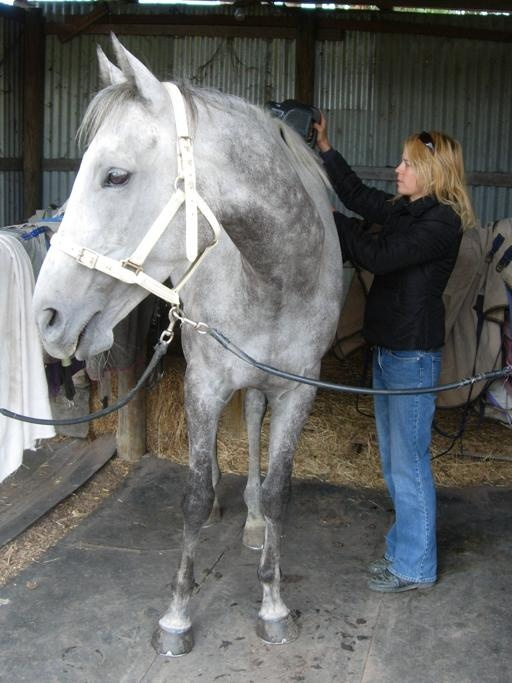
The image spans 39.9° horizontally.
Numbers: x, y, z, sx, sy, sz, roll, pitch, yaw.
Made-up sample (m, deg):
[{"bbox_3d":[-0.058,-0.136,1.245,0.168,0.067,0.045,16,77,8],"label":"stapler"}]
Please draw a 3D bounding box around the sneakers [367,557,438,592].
[{"bbox_3d":[0.517,0.864,2.606,0.173,0.060,0.100,5,-2,-7],"label":"sneakers"}]

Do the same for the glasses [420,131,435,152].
[{"bbox_3d":[0.578,-0.677,2.373,0.049,0.066,0.026,-26,-33,27],"label":"glasses"}]

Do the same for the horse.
[{"bbox_3d":[-0.120,0.090,2.157,0.607,1.779,1.031,5,16,13],"label":"horse"}]
